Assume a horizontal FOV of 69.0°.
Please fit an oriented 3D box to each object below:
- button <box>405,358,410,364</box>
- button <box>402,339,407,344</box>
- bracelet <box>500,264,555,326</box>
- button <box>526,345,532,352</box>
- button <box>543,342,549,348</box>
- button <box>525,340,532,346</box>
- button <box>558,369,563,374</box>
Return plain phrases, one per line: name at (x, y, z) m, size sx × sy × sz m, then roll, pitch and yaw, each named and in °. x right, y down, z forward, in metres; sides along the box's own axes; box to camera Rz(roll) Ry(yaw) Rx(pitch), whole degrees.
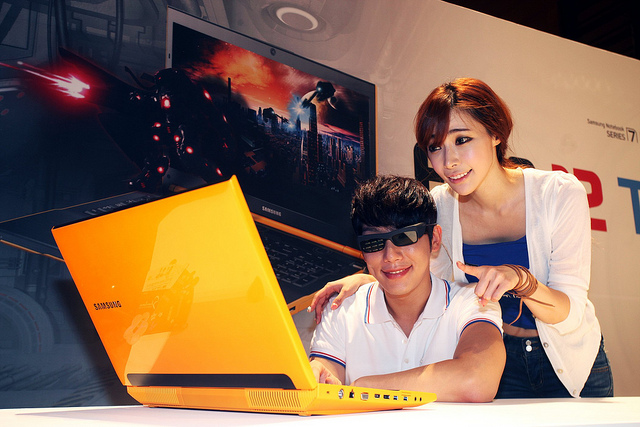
button at (0.330, 0.555, 1.754) m, size 0.017 × 0.016 × 0.004 m, roll 11°, pitch -4°, yaw 15°
button at (0.324, 0.490, 1.781) m, size 0.011 × 0.012 × 0.016 m, roll 0°, pitch -3°, yaw -37°
bracelet at (0.710, 0.305, 1.634) m, size 0.130 × 0.089 × 0.202 m, roll 13°, pitch 6°, yaw 1°
button at (0.893, 0.574, 1.983) m, size 0.025 × 0.018 × 0.016 m, roll 8°, pitch 3°, yaw -19°
button at (0.929, 0.538, 1.907) m, size 0.022 × 0.021 × 0.008 m, roll -7°, pitch -12°, yaw 33°
button at (0.893, 0.549, 1.987) m, size 0.022 × 0.018 × 0.002 m, roll -3°, pitch -10°, yaw 14°
button at (0.978, 0.639, 1.888) m, size 0.019 × 0.019 × 0.004 m, roll -3°, pitch -6°, yaw 13°
